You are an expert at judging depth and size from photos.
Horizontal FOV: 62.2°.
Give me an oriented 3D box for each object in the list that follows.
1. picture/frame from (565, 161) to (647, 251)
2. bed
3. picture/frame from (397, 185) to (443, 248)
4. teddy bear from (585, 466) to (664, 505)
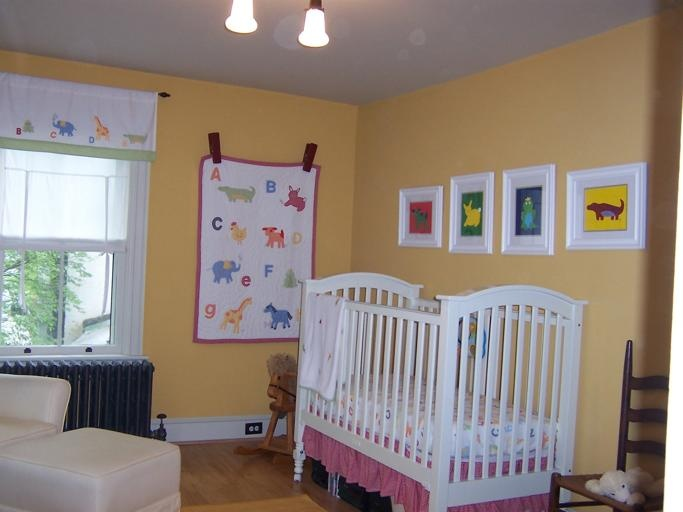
[{"bbox_3d":[1.524,-0.280,3.211,0.034,0.531,0.490,0,1,-36],"label":"picture/frame"},{"bbox_3d":[0.487,0.800,3.788,1.182,1.949,2.006,3,-1,-30],"label":"bed"},{"bbox_3d":[0.636,-0.309,4.458,0.034,0.508,0.471,0,1,-34],"label":"picture/frame"},{"bbox_3d":[1.433,1.119,2.782,0.394,0.139,0.239,1,1,-19],"label":"teddy bear"}]
